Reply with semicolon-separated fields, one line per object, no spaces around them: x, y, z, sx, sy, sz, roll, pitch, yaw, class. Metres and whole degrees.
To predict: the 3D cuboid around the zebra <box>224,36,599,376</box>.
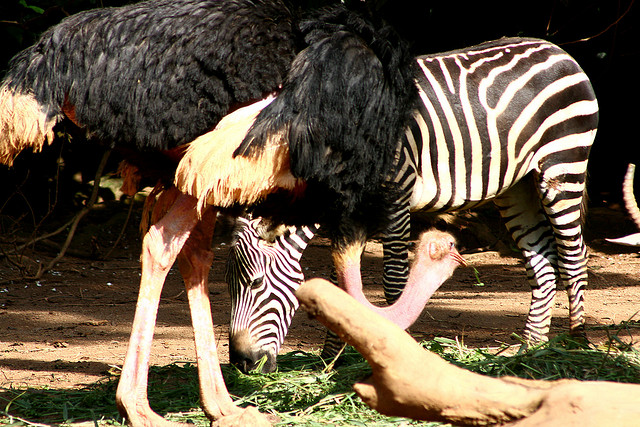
0.716;-0.124;8.119;4.643;2.652;1.214;-4;8;-38;zebra
